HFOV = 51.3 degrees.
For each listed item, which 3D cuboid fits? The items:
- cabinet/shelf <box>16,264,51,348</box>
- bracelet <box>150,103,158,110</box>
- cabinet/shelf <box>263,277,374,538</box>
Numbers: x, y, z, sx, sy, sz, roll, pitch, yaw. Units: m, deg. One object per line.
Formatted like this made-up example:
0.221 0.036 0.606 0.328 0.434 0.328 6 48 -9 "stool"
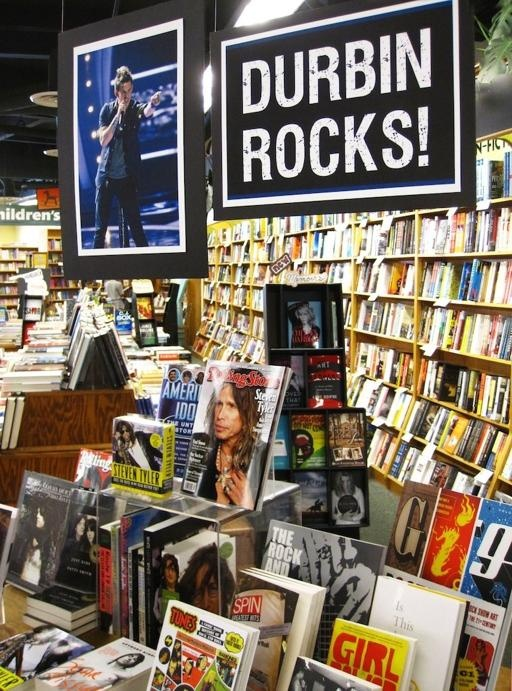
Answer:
-3.505 -0.555 8.354 0.444 1.305 0.301 -1 17 -31 "cabinet/shelf"
-0.275 -0.639 1.430 0.019 0.016 0.003 7 8 26 "bracelet"
0.328 0.303 3.073 0.613 1.299 0.921 3 7 -2 "cabinet/shelf"
